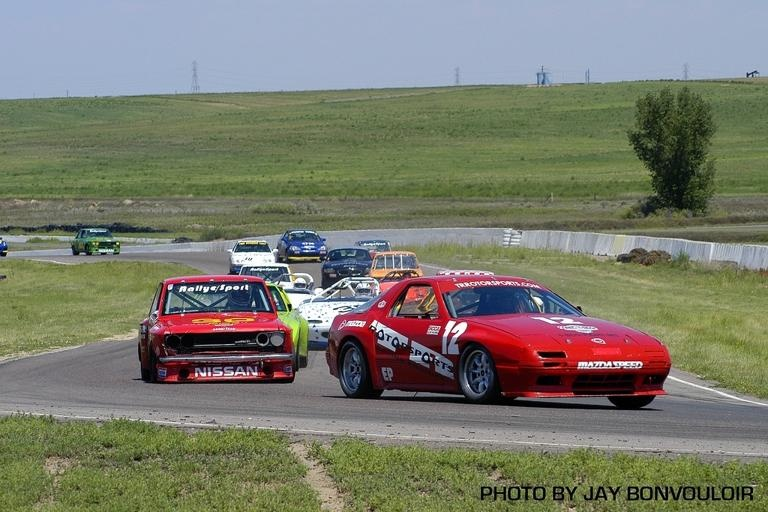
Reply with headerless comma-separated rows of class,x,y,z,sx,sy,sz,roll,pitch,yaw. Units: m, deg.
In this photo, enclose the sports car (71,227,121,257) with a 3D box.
sports car,-14.650,-0.748,64.915,1.434,0.926,2.441,0,-2,-27
